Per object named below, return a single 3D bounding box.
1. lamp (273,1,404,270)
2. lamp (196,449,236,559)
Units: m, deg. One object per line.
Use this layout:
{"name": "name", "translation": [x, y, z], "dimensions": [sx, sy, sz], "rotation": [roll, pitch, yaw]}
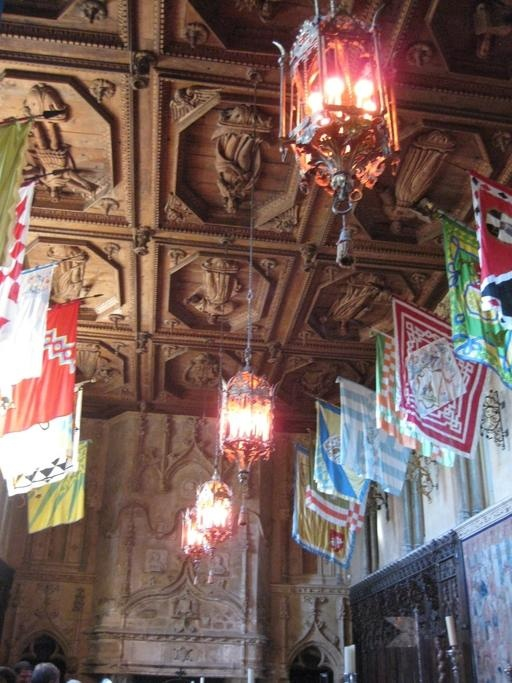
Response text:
{"name": "lamp", "translation": [0.581, -1.606, 4.631], "dimensions": [0.870, 2.736, 1.224], "rotation": [-1, -29, 4]}
{"name": "lamp", "translation": [-0.674, 2.681, 10.681], "dimensions": [0.578, 1.160, 0.953], "rotation": [4, -28, -4]}
